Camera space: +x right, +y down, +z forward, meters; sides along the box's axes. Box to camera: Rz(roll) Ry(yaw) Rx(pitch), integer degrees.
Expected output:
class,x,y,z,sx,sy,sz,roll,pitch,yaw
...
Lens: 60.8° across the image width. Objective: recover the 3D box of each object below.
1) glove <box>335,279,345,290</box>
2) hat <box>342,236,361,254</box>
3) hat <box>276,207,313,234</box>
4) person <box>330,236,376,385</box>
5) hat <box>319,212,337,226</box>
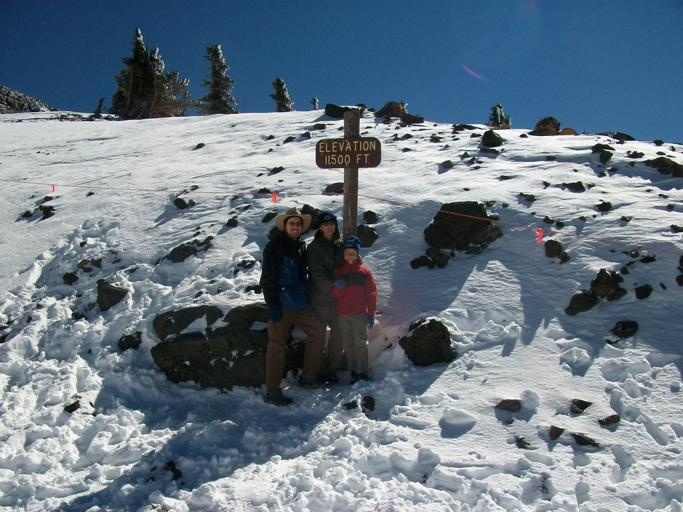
class,x,y,z,sx,sy,sz,roll,pitch,yaw
glove,-0.033,0.524,11.168,0.180,0.154,0.142,-1,10,0
hat,0.184,-0.241,11.455,0.321,0.239,0.358,4,0,1
hat,-0.991,-0.752,11.464,0.673,0.496,0.213,1,32,-9
person,0.241,1.066,11.353,0.803,2.737,0.474,1,12,9
hat,-0.292,-0.731,11.392,0.325,0.207,0.255,-27,-17,31
